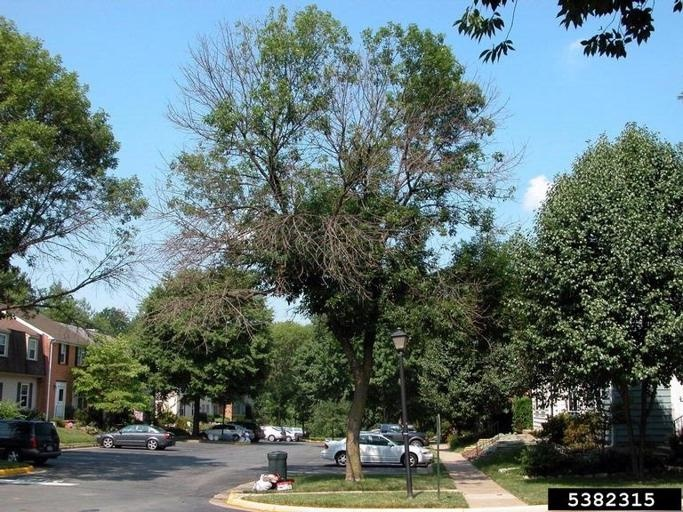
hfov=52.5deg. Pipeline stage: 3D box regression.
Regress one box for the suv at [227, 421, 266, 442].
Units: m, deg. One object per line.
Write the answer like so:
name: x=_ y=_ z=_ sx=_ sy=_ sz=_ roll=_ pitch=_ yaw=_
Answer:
suv: x=-8.347 y=15.162 z=60.570 sx=3.508 sy=1.285 sz=1.722 roll=2 pitch=-25 yaw=15

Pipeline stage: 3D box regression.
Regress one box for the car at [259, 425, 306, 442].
car: x=-5.857 y=17.225 z=66.806 sx=1.949 sy=1.406 sz=4.865 roll=-14 pitch=-22 yaw=38

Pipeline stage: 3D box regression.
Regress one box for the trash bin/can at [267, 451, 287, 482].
trash bin/can: x=-2.450 y=8.066 z=26.614 sx=0.698 sy=1.047 sz=0.876 roll=0 pitch=-16 yaw=-2

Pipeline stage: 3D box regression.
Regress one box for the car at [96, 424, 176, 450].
car: x=-13.604 y=12.015 z=45.703 sx=4.692 sy=1.601 sz=1.207 roll=-4 pitch=-16 yaw=9

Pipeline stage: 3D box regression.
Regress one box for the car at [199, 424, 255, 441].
car: x=-9.576 y=14.852 z=57.928 sx=3.920 sy=1.611 sz=2.246 roll=-1 pitch=-16 yaw=2
